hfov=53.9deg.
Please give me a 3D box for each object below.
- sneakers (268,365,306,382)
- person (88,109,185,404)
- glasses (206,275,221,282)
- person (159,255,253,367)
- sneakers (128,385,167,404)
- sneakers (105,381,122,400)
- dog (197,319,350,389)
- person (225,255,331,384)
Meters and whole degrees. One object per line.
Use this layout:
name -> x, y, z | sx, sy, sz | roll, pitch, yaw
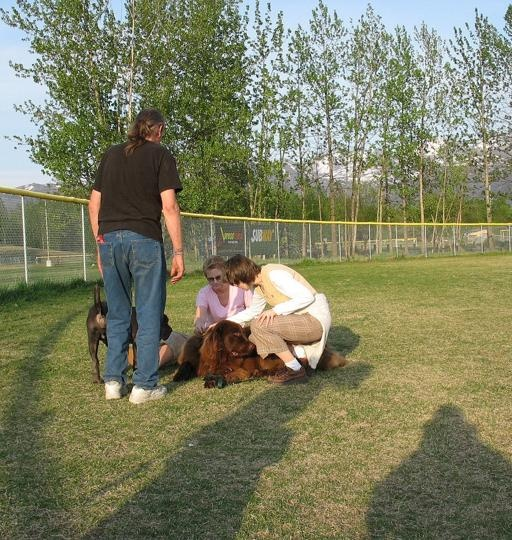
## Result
sneakers -> 0.250, 0.830, 4.129 | 0.288, 0.166, 0.129 | -1, -4, -4
person -> -0.880, -0.124, 3.722 | 0.685, 2.178, 0.453 | -1, 2, -5
glasses -> -0.417, 0.092, 4.803 | 0.172, 0.069, 0.104 | 1, 3, 35
person -> -0.368, 0.494, 4.635 | 0.514, 0.903, 1.478 | 0, 18, 8
sneakers -> -0.799, 0.913, 3.745 | 0.105, 0.154, 0.298 | 7, 11, 35
sneakers -> -1.052, 0.884, 3.700 | 0.063, 0.097, 0.178 | 1, 6, -7
dog -> -0.070, 0.727, 4.345 | 0.825, 0.511, 0.395 | -4, -13, -13
person -> 0.175, 0.407, 4.482 | 0.810, 1.203, 0.687 | -7, 1, 7
